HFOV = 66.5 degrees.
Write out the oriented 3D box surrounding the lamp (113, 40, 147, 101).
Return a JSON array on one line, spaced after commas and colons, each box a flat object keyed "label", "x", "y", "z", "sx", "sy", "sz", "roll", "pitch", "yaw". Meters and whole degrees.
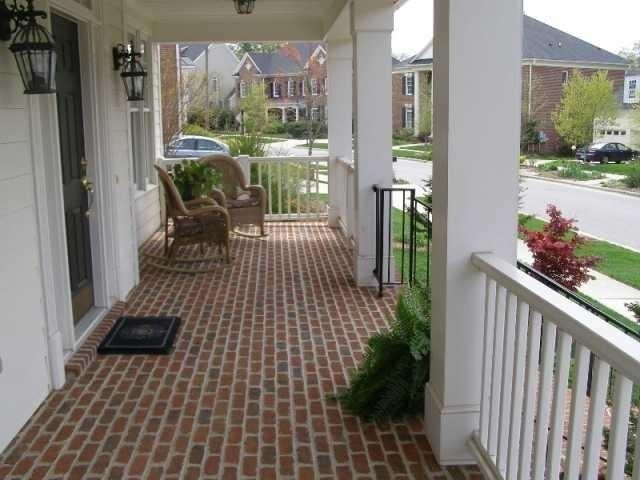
[{"label": "lamp", "x": -1.997, "y": -1.794, "z": 5.134, "sx": 0.292, "sy": 0.587, "sz": 0.496, "roll": -3, "pitch": 14, "yaw": -12}]
